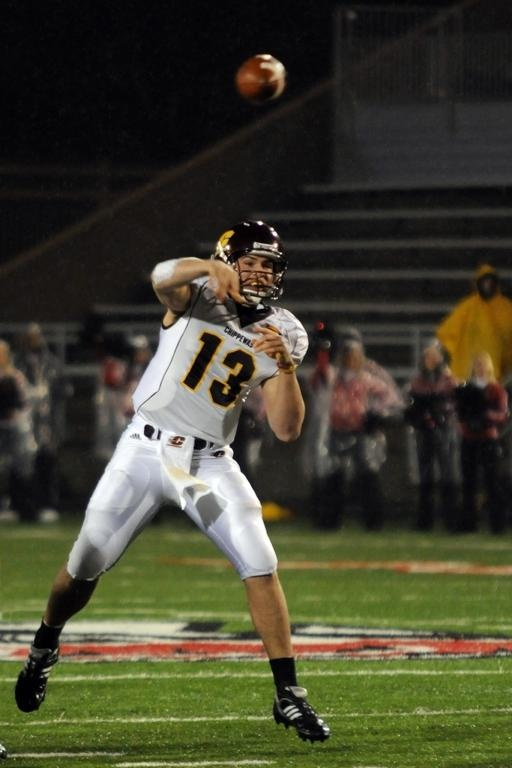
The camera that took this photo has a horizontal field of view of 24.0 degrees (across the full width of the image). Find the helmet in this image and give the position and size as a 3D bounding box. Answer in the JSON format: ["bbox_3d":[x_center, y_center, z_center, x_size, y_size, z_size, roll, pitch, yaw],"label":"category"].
[{"bbox_3d":[-0.019,-0.414,4.116,0.252,0.244,0.316,12,5,-29],"label":"helmet"}]

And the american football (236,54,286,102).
[{"bbox_3d":[0.057,-1.271,5.104,0.231,0.164,0.187,15,-3,38],"label":"american football"}]

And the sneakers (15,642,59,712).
[{"bbox_3d":[-0.734,0.982,4.028,0.108,0.254,0.127,14,-2,-5],"label":"sneakers"}]

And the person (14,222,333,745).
[{"bbox_3d":[-0.278,0.314,3.996,0.938,1.676,0.571,-3,4,2],"label":"person"}]
